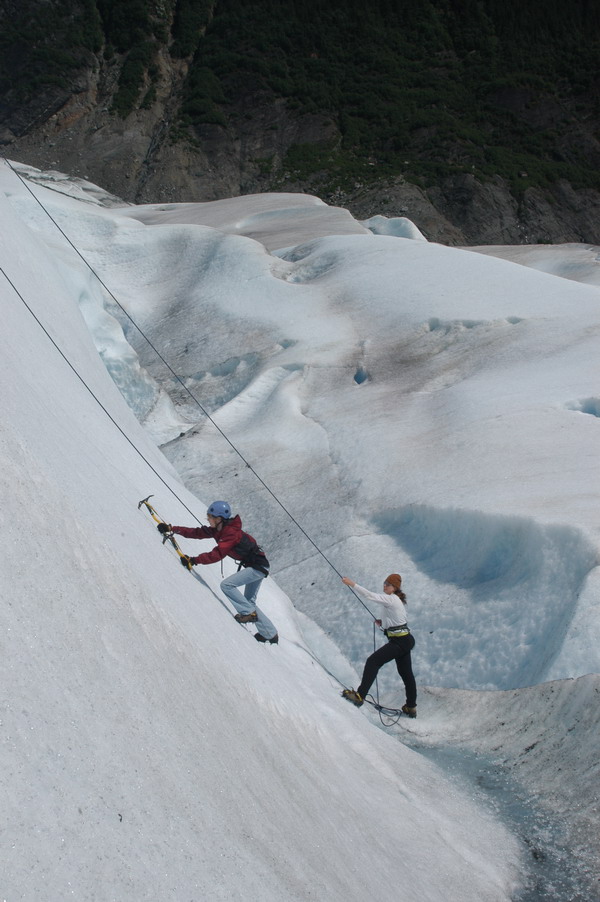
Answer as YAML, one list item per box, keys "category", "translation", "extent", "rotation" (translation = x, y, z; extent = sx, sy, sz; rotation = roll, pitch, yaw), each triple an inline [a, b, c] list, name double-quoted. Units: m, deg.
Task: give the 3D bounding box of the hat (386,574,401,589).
- category: "hat"
  translation: [0.662, 0.924, 7.026]
  extent: [0.127, 0.090, 0.089]
  rotation: [0, -13, 10]

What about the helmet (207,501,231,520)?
- category: "helmet"
  translation: [-0.564, 0.393, 6.874]
  extent: [0.165, 0.121, 0.119]
  rotation: [21, 16, 24]

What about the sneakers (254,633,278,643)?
- category: "sneakers"
  translation: [-0.234, 1.380, 7.254]
  extent: [0.193, 0.069, 0.064]
  rotation: [-6, -1, 12]

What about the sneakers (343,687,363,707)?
- category: "sneakers"
  translation: [0.398, 1.782, 7.204]
  extent: [0.161, 0.104, 0.090]
  rotation: [33, 38, -18]

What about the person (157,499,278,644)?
- category: "person"
  translation: [-0.503, 0.948, 7.058]
  extent: [0.570, 1.304, 0.576]
  rotation: [18, 40, 25]

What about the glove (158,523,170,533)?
- category: "glove"
  translation: [-0.933, 0.524, 6.669]
  extent: [0.063, 0.035, 0.083]
  rotation: [7, -2, -18]

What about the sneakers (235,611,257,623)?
- category: "sneakers"
  translation: [-0.396, 1.203, 7.118]
  extent: [0.145, 0.064, 0.060]
  rotation: [9, 63, -9]

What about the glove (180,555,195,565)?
- category: "glove"
  translation: [-0.778, 0.754, 6.761]
  extent: [0.081, 0.092, 0.082]
  rotation: [-11, 34, -9]
